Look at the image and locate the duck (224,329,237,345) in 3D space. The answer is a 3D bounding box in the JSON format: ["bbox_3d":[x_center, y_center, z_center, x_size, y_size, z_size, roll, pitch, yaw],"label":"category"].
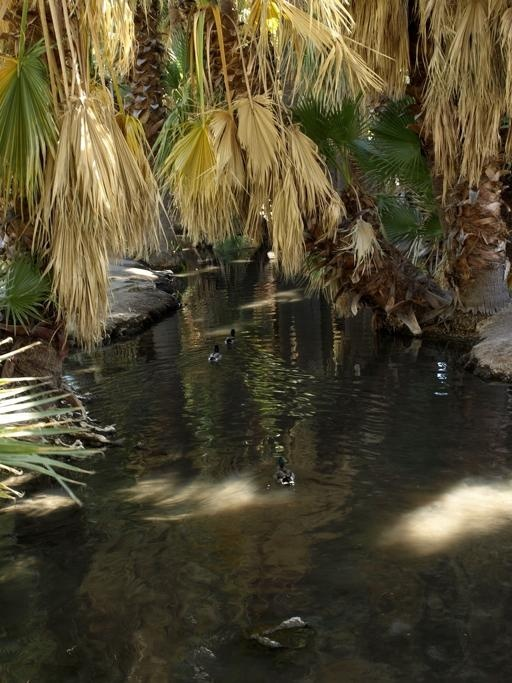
[{"bbox_3d":[-0.388,-0.028,9.969,0.093,0.194,0.284,5,22,10],"label":"duck"}]
